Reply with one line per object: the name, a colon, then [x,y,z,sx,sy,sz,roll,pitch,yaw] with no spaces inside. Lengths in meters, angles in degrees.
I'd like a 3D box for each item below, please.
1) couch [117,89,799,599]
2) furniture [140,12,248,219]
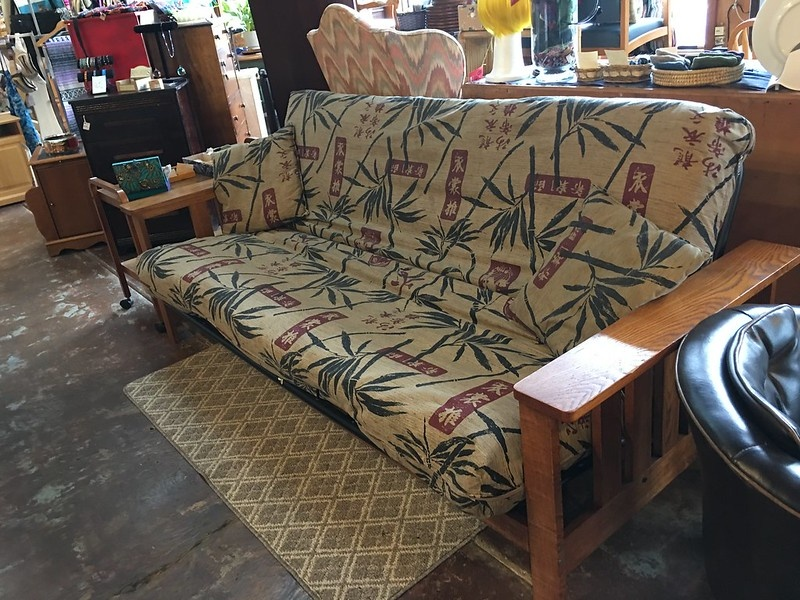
couch: [0.052,-0.131,2.012,1.133,1.123,2.037,-24,32,-36]
furniture: [-1.549,-1.541,4.405,0.498,1.049,0.682,-7,7,-6]
